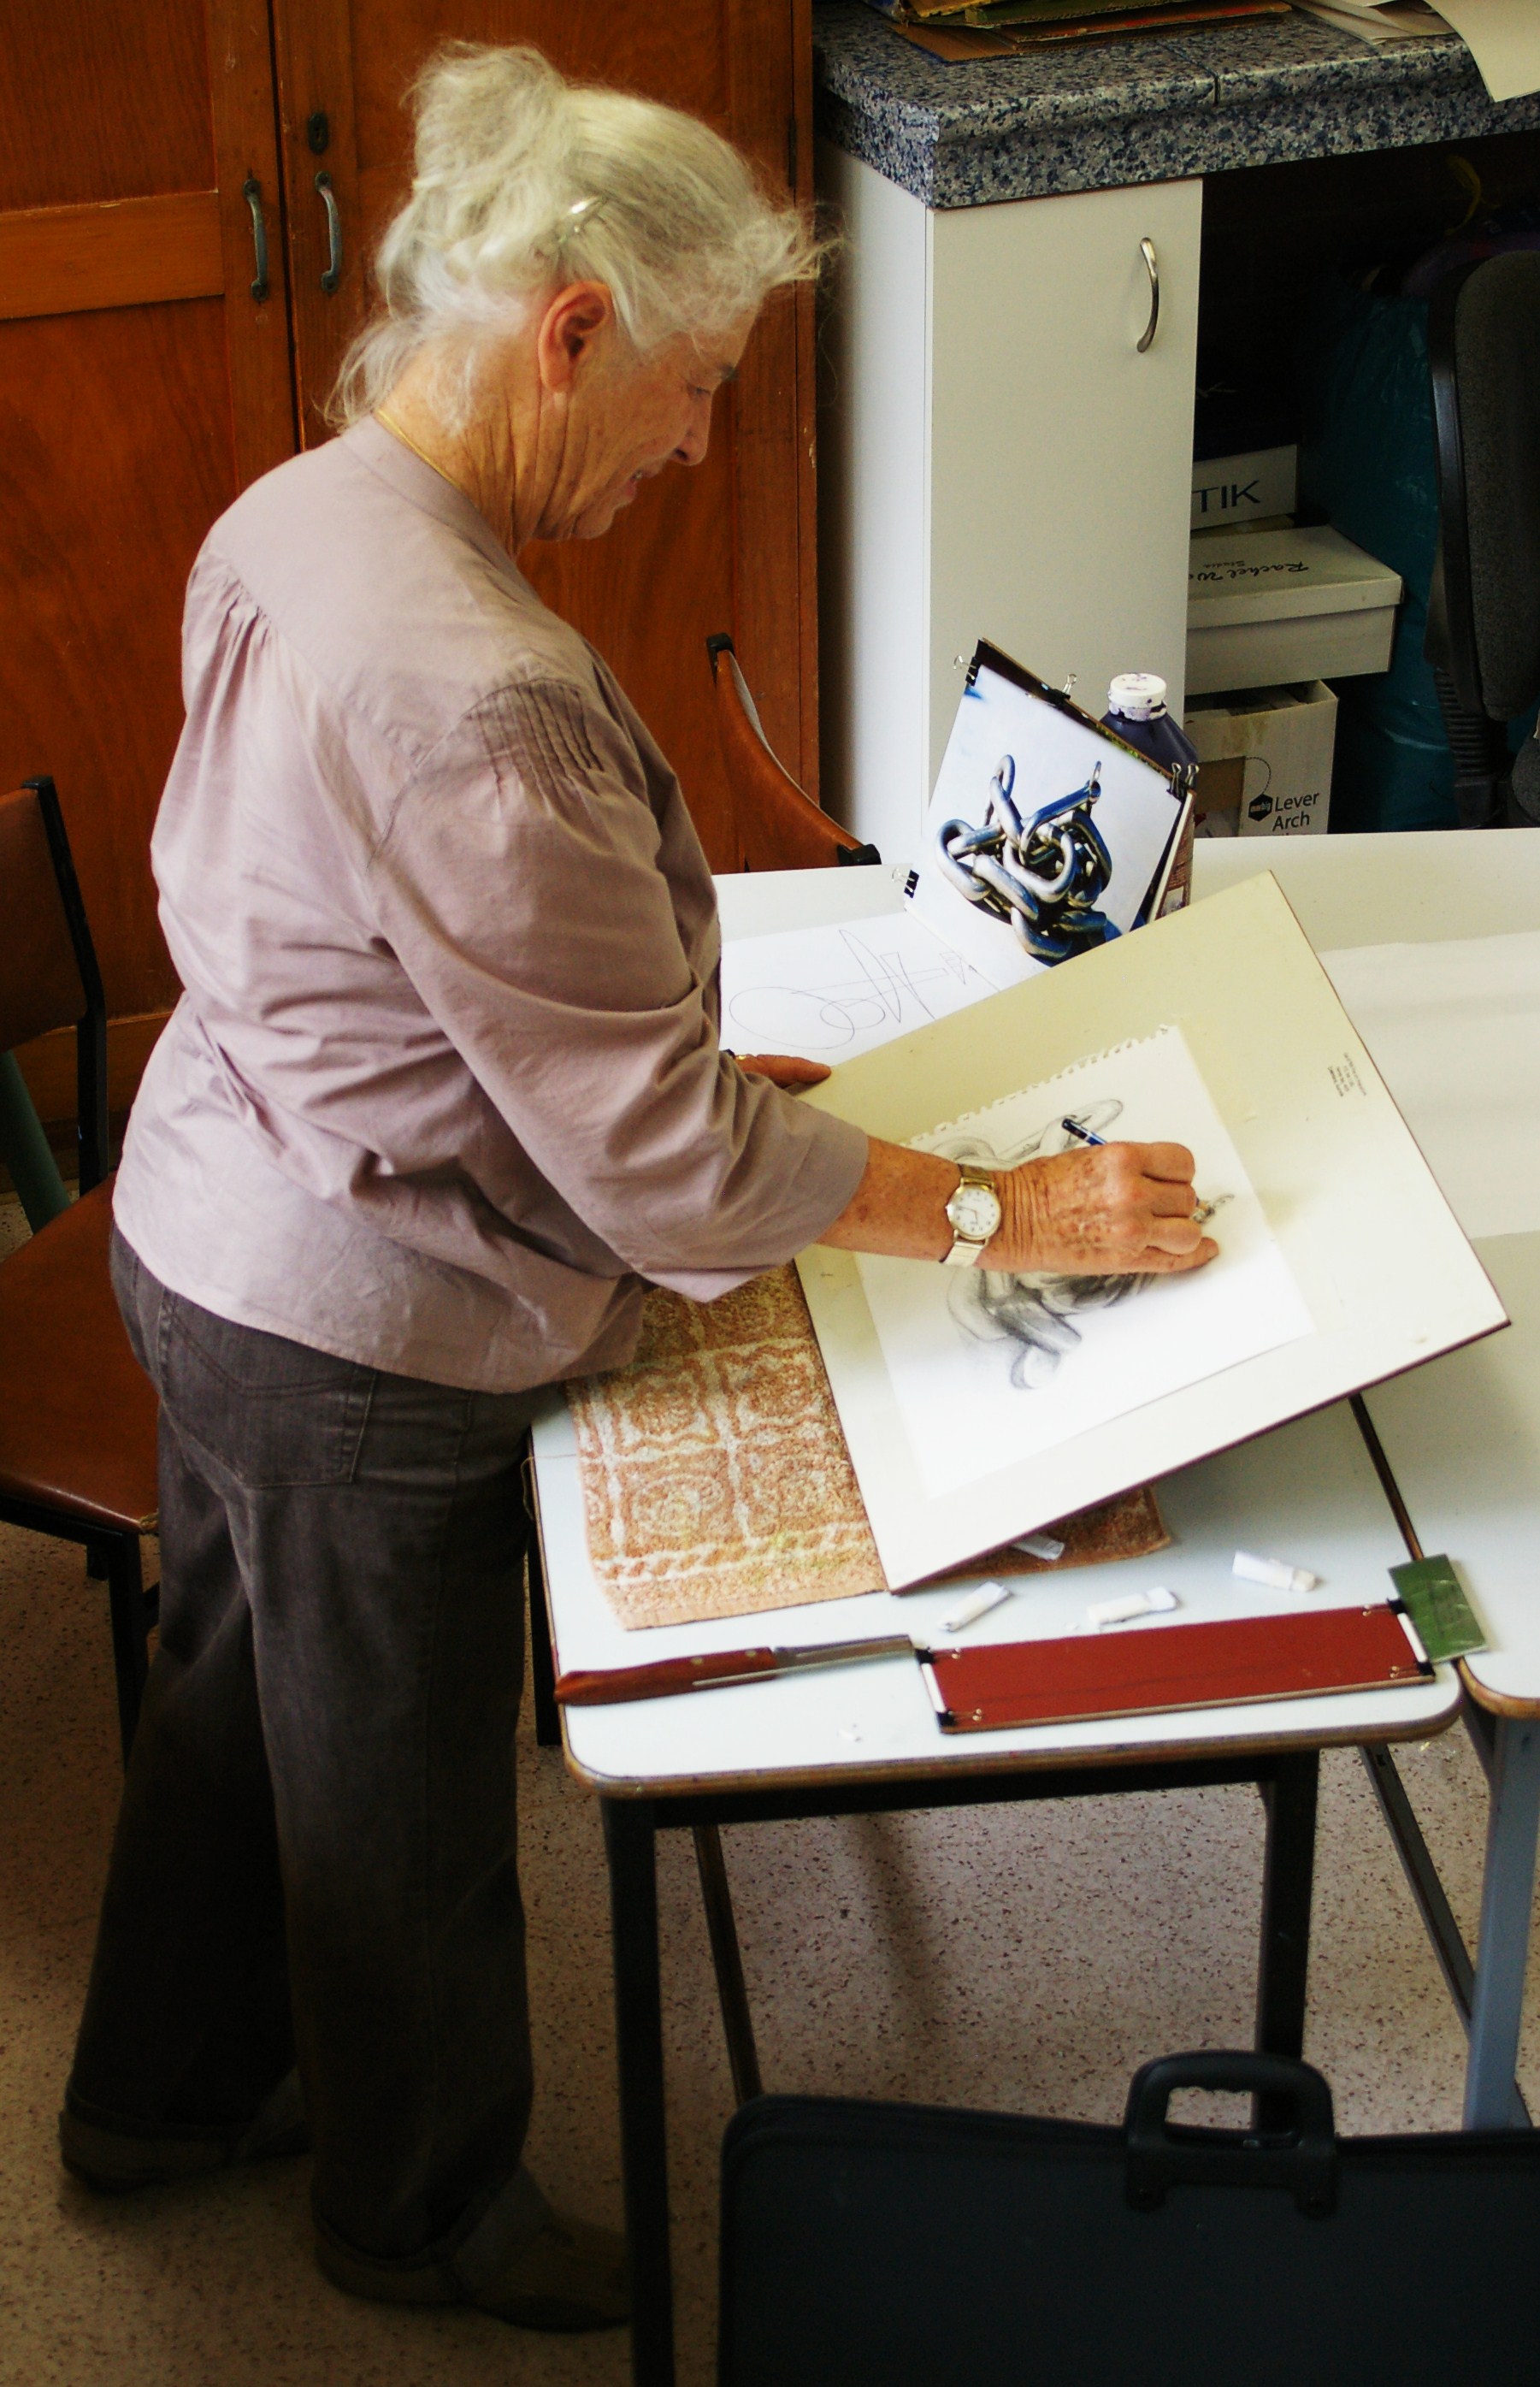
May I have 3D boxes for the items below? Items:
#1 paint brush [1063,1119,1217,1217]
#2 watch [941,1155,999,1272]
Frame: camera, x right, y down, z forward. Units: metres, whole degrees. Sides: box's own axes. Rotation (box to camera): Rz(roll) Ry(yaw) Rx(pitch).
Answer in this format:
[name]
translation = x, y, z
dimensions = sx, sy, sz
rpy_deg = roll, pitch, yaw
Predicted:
[paint brush]
translation = 0.193, -0.012, 1.005
dimensions = 0.042, 0.024, 0.022
rpy_deg = 17, -10, 31
[watch]
translation = 0.103, 0.012, 1.000
dimensions = 0.028, 0.047, 0.043
rpy_deg = 4, 1, -7
